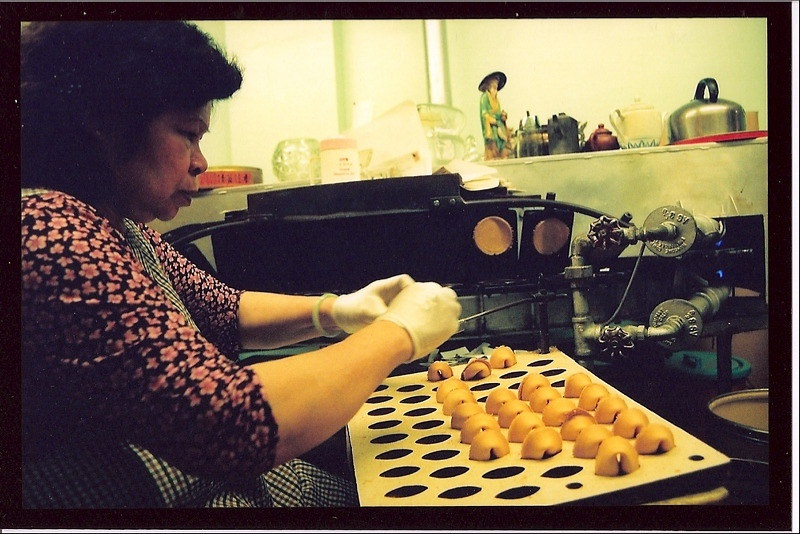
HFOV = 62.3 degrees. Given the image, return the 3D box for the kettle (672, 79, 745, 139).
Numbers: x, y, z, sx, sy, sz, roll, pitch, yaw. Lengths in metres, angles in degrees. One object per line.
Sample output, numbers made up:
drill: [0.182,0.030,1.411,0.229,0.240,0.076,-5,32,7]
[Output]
kettle: [0.937,-0.471,2.042,0.180,0.189,0.184,-8,15,-8]

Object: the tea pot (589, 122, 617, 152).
tea pot: [0.663,-0.429,2.166,0.082,0.076,0.083,-4,10,1]

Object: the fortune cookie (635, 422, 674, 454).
fortune cookie: [0.620,0.424,1.610,0.078,0.048,0.074,-7,-1,-1]

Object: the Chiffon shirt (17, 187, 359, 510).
Chiffon shirt: [-0.507,0.233,1.818,0.798,0.835,0.884,0,6,-27]

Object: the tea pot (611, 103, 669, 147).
tea pot: [0.758,-0.441,2.100,0.160,0.138,0.149,1,9,0]

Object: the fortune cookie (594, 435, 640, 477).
fortune cookie: [0.509,0.446,1.572,0.095,0.073,0.089,-4,-11,-2]

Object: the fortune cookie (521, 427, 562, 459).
fortune cookie: [0.363,0.440,1.651,0.120,0.071,0.057,-7,10,-16]

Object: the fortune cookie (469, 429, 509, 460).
fortune cookie: [0.222,0.447,1.654,0.077,0.048,0.078,-8,-7,-5]

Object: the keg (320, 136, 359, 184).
keg: [0.524,0.450,1.608,0.117,0.091,0.121,1,19,28]

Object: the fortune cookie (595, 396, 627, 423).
fortune cookie: [0.564,0.377,1.757,0.069,0.045,0.074,-16,25,11]

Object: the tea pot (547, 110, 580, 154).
tea pot: [0.525,-0.429,2.133,0.079,0.145,0.144,-1,3,26]
